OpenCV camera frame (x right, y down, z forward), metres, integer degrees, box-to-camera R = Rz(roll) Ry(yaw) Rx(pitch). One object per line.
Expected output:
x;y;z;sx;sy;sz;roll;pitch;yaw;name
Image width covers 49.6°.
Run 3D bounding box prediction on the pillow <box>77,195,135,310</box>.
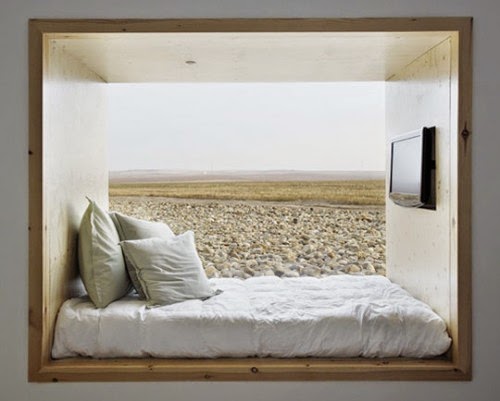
-1.011;0.310;3.744;0.222;0.635;0.689;6;-7;-3;pillow
